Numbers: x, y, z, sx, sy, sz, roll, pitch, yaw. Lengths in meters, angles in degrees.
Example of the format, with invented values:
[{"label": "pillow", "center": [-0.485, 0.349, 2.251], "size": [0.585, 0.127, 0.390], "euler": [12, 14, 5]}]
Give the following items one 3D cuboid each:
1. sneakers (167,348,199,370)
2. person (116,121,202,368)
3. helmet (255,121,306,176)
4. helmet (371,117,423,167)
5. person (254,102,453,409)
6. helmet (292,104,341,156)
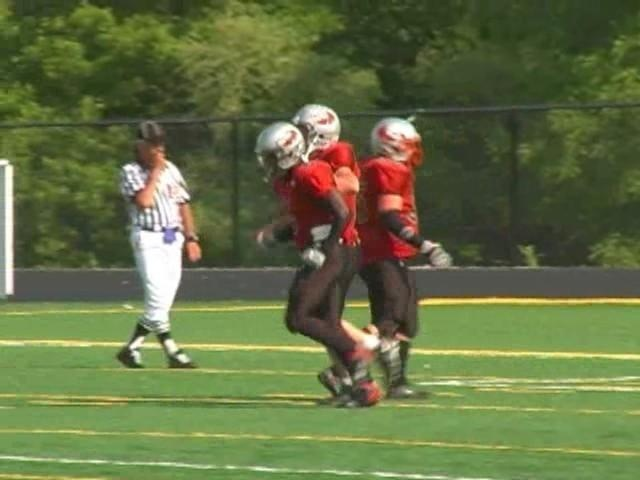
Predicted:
[{"label": "sneakers", "center": [-1.274, 1.118, 14.457], "size": [0.299, 0.169, 0.146], "euler": [-1, 1, 1]}, {"label": "person", "center": [-1.487, 0.060, 14.407], "size": [0.754, 2.254, 0.634], "euler": [-1, 13, -3]}, {"label": "helmet", "center": [-0.231, -0.766, 12.969], "size": [0.520, 0.445, 0.368], "euler": [-1, 3, 9]}, {"label": "helmet", "center": [0.646, -0.840, 13.367], "size": [0.472, 0.433, 0.370], "euler": [9, 30, 23]}, {"label": "person", "center": [0.043, 0.129, 12.914], "size": [1.157, 2.434, 0.759], "euler": [7, 14, 26]}, {"label": "helmet", "center": [-0.066, -0.881, 13.009], "size": [0.380, 0.415, 0.440], "euler": [-17, -17, -11]}]
